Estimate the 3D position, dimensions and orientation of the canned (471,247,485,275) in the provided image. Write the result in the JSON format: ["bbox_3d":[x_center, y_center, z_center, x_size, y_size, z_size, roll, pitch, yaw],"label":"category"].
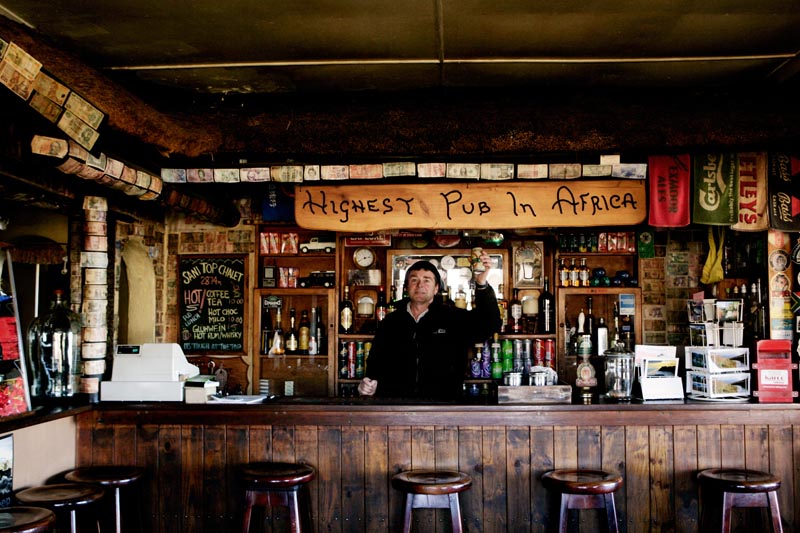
[{"bbox_3d":[0.676,-0.052,7.049,0.102,0.219,0.144,-2,-7,-6],"label":"canned"}]
